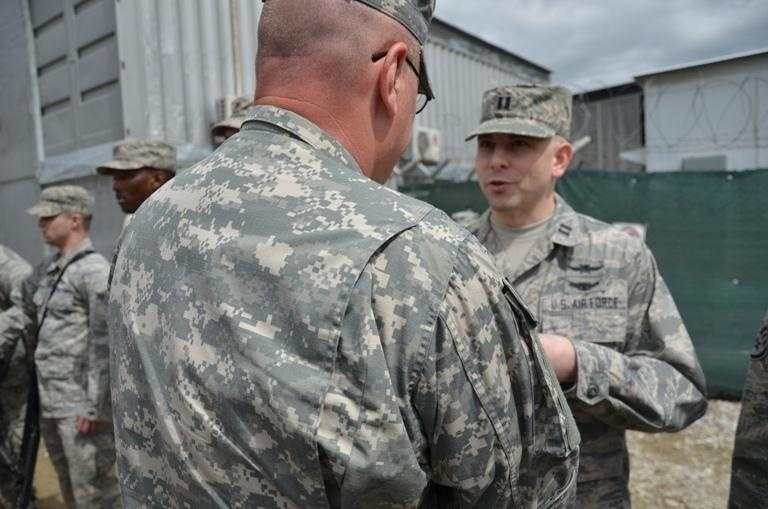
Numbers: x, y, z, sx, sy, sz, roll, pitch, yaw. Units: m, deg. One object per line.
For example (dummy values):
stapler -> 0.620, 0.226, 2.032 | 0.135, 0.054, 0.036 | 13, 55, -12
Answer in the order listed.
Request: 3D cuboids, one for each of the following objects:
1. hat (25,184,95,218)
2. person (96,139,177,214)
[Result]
hat -> -2.828, -0.475, 9.275 | 0.453, 0.215, 0.305 | -1, 4, -34
person -> -2.236, -0.739, 9.714 | 0.816, 0.763, 0.639 | 5, -4, -37
